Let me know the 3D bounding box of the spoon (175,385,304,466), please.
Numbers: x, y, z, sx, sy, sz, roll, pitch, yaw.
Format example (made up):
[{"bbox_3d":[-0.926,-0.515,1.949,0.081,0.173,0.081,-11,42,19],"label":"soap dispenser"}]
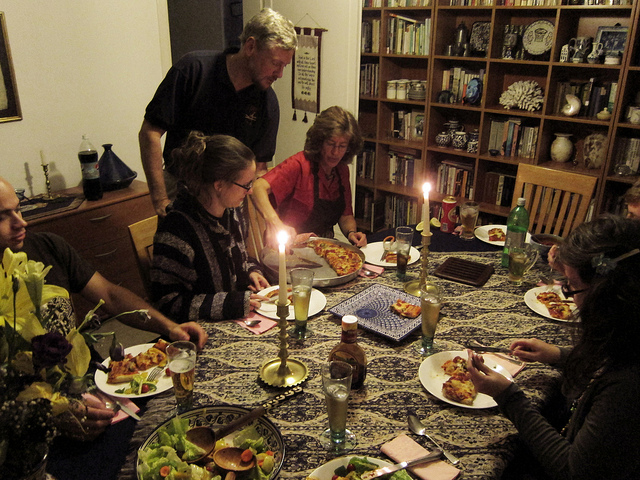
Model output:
[{"bbox_3d":[-0.229,0.566,1.588,0.494,0.104,0.113,-14,26,-38],"label":"spoon"}]

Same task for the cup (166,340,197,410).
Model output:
[{"bbox_3d":[-0.476,0.483,1.703,0.104,0.281,0.098,2,17,-1],"label":"cup"}]

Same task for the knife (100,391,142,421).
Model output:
[{"bbox_3d":[-0.688,0.577,1.695,0.151,0.020,0.014,23,57,16],"label":"knife"}]

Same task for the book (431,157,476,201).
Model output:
[{"bbox_3d":[1.299,-0.577,4.758,0.180,0.409,0.418,-21,30,-40],"label":"book"}]

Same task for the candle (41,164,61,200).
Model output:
[{"bbox_3d":[-2.010,-0.438,3.630,0.110,0.262,0.119,-9,23,-28],"label":"candle"}]

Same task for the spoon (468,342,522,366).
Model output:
[{"bbox_3d":[0.679,0.443,1.899,0.211,0.031,0.026,19,4,20],"label":"spoon"}]

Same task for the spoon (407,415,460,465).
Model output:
[{"bbox_3d":[0.359,0.635,1.592,0.055,0.039,0.276,-15,25,-13],"label":"spoon"}]

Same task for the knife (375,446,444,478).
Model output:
[{"bbox_3d":[0.271,0.677,1.497,0.254,0.025,0.038,-7,22,-24],"label":"knife"}]

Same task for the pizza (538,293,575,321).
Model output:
[{"bbox_3d":[1.070,0.301,2.215,0.119,0.039,0.185,-1,27,5],"label":"pizza"}]

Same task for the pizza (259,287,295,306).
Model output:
[{"bbox_3d":[-0.194,0.239,2.246,0.139,0.021,0.101,-22,48,-22],"label":"pizza"}]

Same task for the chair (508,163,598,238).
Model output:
[{"bbox_3d":[1.570,-0.280,3.272,0.368,0.520,0.424,-13,23,-35],"label":"chair"}]

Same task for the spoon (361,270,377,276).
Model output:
[{"bbox_3d":[0.255,0.171,2.534,0.075,0.011,0.046,5,21,7],"label":"spoon"}]

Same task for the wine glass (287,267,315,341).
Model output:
[{"bbox_3d":[-0.073,0.271,2.053,0.114,0.279,0.132,9,23,19],"label":"wine glass"}]

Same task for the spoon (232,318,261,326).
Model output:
[{"bbox_3d":[-0.296,0.353,2.097,0.091,0.016,0.024,6,15,22],"label":"spoon"}]

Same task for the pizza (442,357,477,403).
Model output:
[{"bbox_3d":[0.503,0.508,1.762,0.103,0.029,0.144,3,29,7],"label":"pizza"}]

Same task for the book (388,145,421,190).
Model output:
[{"bbox_3d":[0.857,-0.746,5.030,0.315,0.455,0.222,17,27,37],"label":"book"}]

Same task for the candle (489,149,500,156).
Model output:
[{"bbox_3d":[1.566,-0.784,4.412,0.083,0.046,0.061,8,21,14],"label":"candle"}]

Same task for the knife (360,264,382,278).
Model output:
[{"bbox_3d":[0.254,0.165,2.547,0.071,0.009,0.060,25,38,35],"label":"knife"}]
